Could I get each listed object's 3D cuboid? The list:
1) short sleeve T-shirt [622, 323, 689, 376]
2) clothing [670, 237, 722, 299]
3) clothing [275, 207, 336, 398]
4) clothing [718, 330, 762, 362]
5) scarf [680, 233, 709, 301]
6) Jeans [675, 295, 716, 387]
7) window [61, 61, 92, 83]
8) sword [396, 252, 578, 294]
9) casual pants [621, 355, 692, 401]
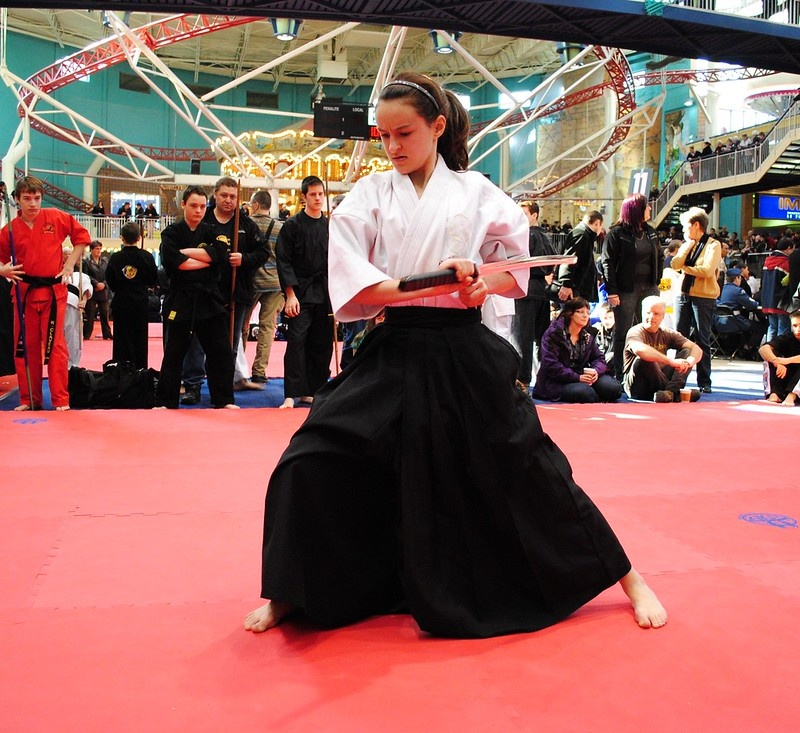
[{"bbox_3d":[2.328,-0.141,6.411,0.379,0.413,0.233,11,-32,25],"label":"short sleeve T-shirt"},{"bbox_3d":[2.910,-0.965,6.898,0.437,0.601,0.355,4,8,24],"label":"clothing"},{"bbox_3d":[-0.725,-0.496,5.598,0.405,1.483,0.583,7,10,33],"label":"clothing"},{"bbox_3d":[5.275,-0.329,10.863,0.654,0.462,0.487,5,8,34],"label":"clothing"},{"bbox_3d":[2.864,-0.993,6.910,0.153,0.539,0.377,10,21,12],"label":"scarf"},{"bbox_3d":[3.001,-0.242,7.052,0.308,0.930,0.219,4,-3,-5],"label":"Jeans"},{"bbox_3d":[-9.123,-8.320,19.784,0.747,0.359,0.637,1,6,-1],"label":"window"},{"bbox_3d":[0.238,-0.236,1.771,0.488,0.104,0.176,-3,7,-31],"label":"sword"},{"bbox_3d":[2.290,0.156,6.409,0.416,0.585,0.417,6,-2,-23],"label":"casual pants"}]
